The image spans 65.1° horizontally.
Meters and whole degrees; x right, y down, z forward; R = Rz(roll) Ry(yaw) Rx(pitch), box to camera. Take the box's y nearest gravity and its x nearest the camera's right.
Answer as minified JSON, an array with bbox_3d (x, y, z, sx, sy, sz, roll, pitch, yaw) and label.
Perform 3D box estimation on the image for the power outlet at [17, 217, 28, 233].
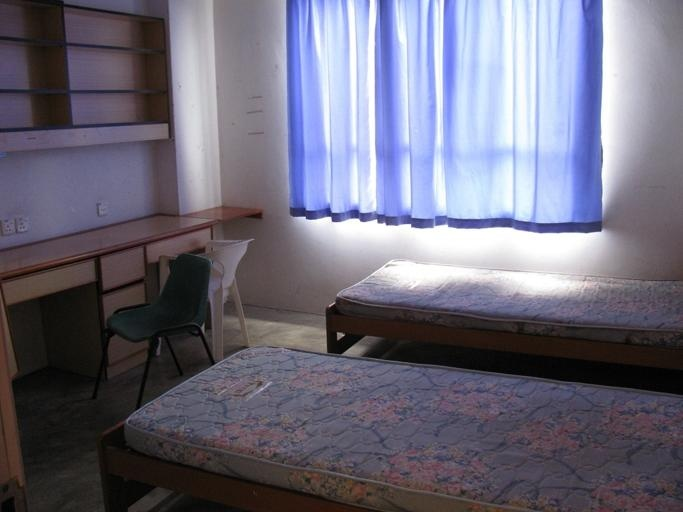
[{"bbox_3d":[-2.219,-0.208,3.719,0.020,0.083,0.085,6,0,23],"label":"power outlet"}]

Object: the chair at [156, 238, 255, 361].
[{"bbox_3d":[-0.963,0.330,4.266,0.814,1.070,0.913,1,3,-8],"label":"chair"}]

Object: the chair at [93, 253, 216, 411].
[{"bbox_3d":[-1.142,0.459,3.366,0.640,0.868,0.673,9,12,26],"label":"chair"}]
